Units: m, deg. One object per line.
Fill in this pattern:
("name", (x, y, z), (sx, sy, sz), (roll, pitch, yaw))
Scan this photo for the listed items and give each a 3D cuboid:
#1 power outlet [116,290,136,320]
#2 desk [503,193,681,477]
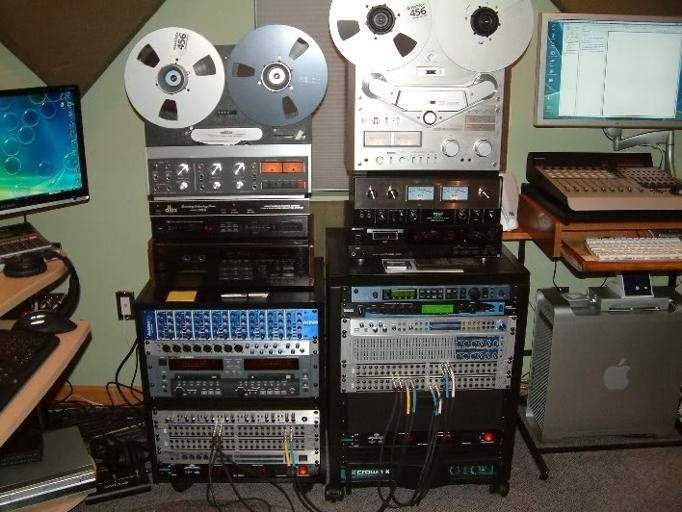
("power outlet", (-1.169, 0.269, 3.263), (0.105, 0.171, 0.049), (-2, 10, -5))
("desk", (1.193, 0.371, 2.963), (0.784, 1.352, 0.512), (1, 10, 15))
